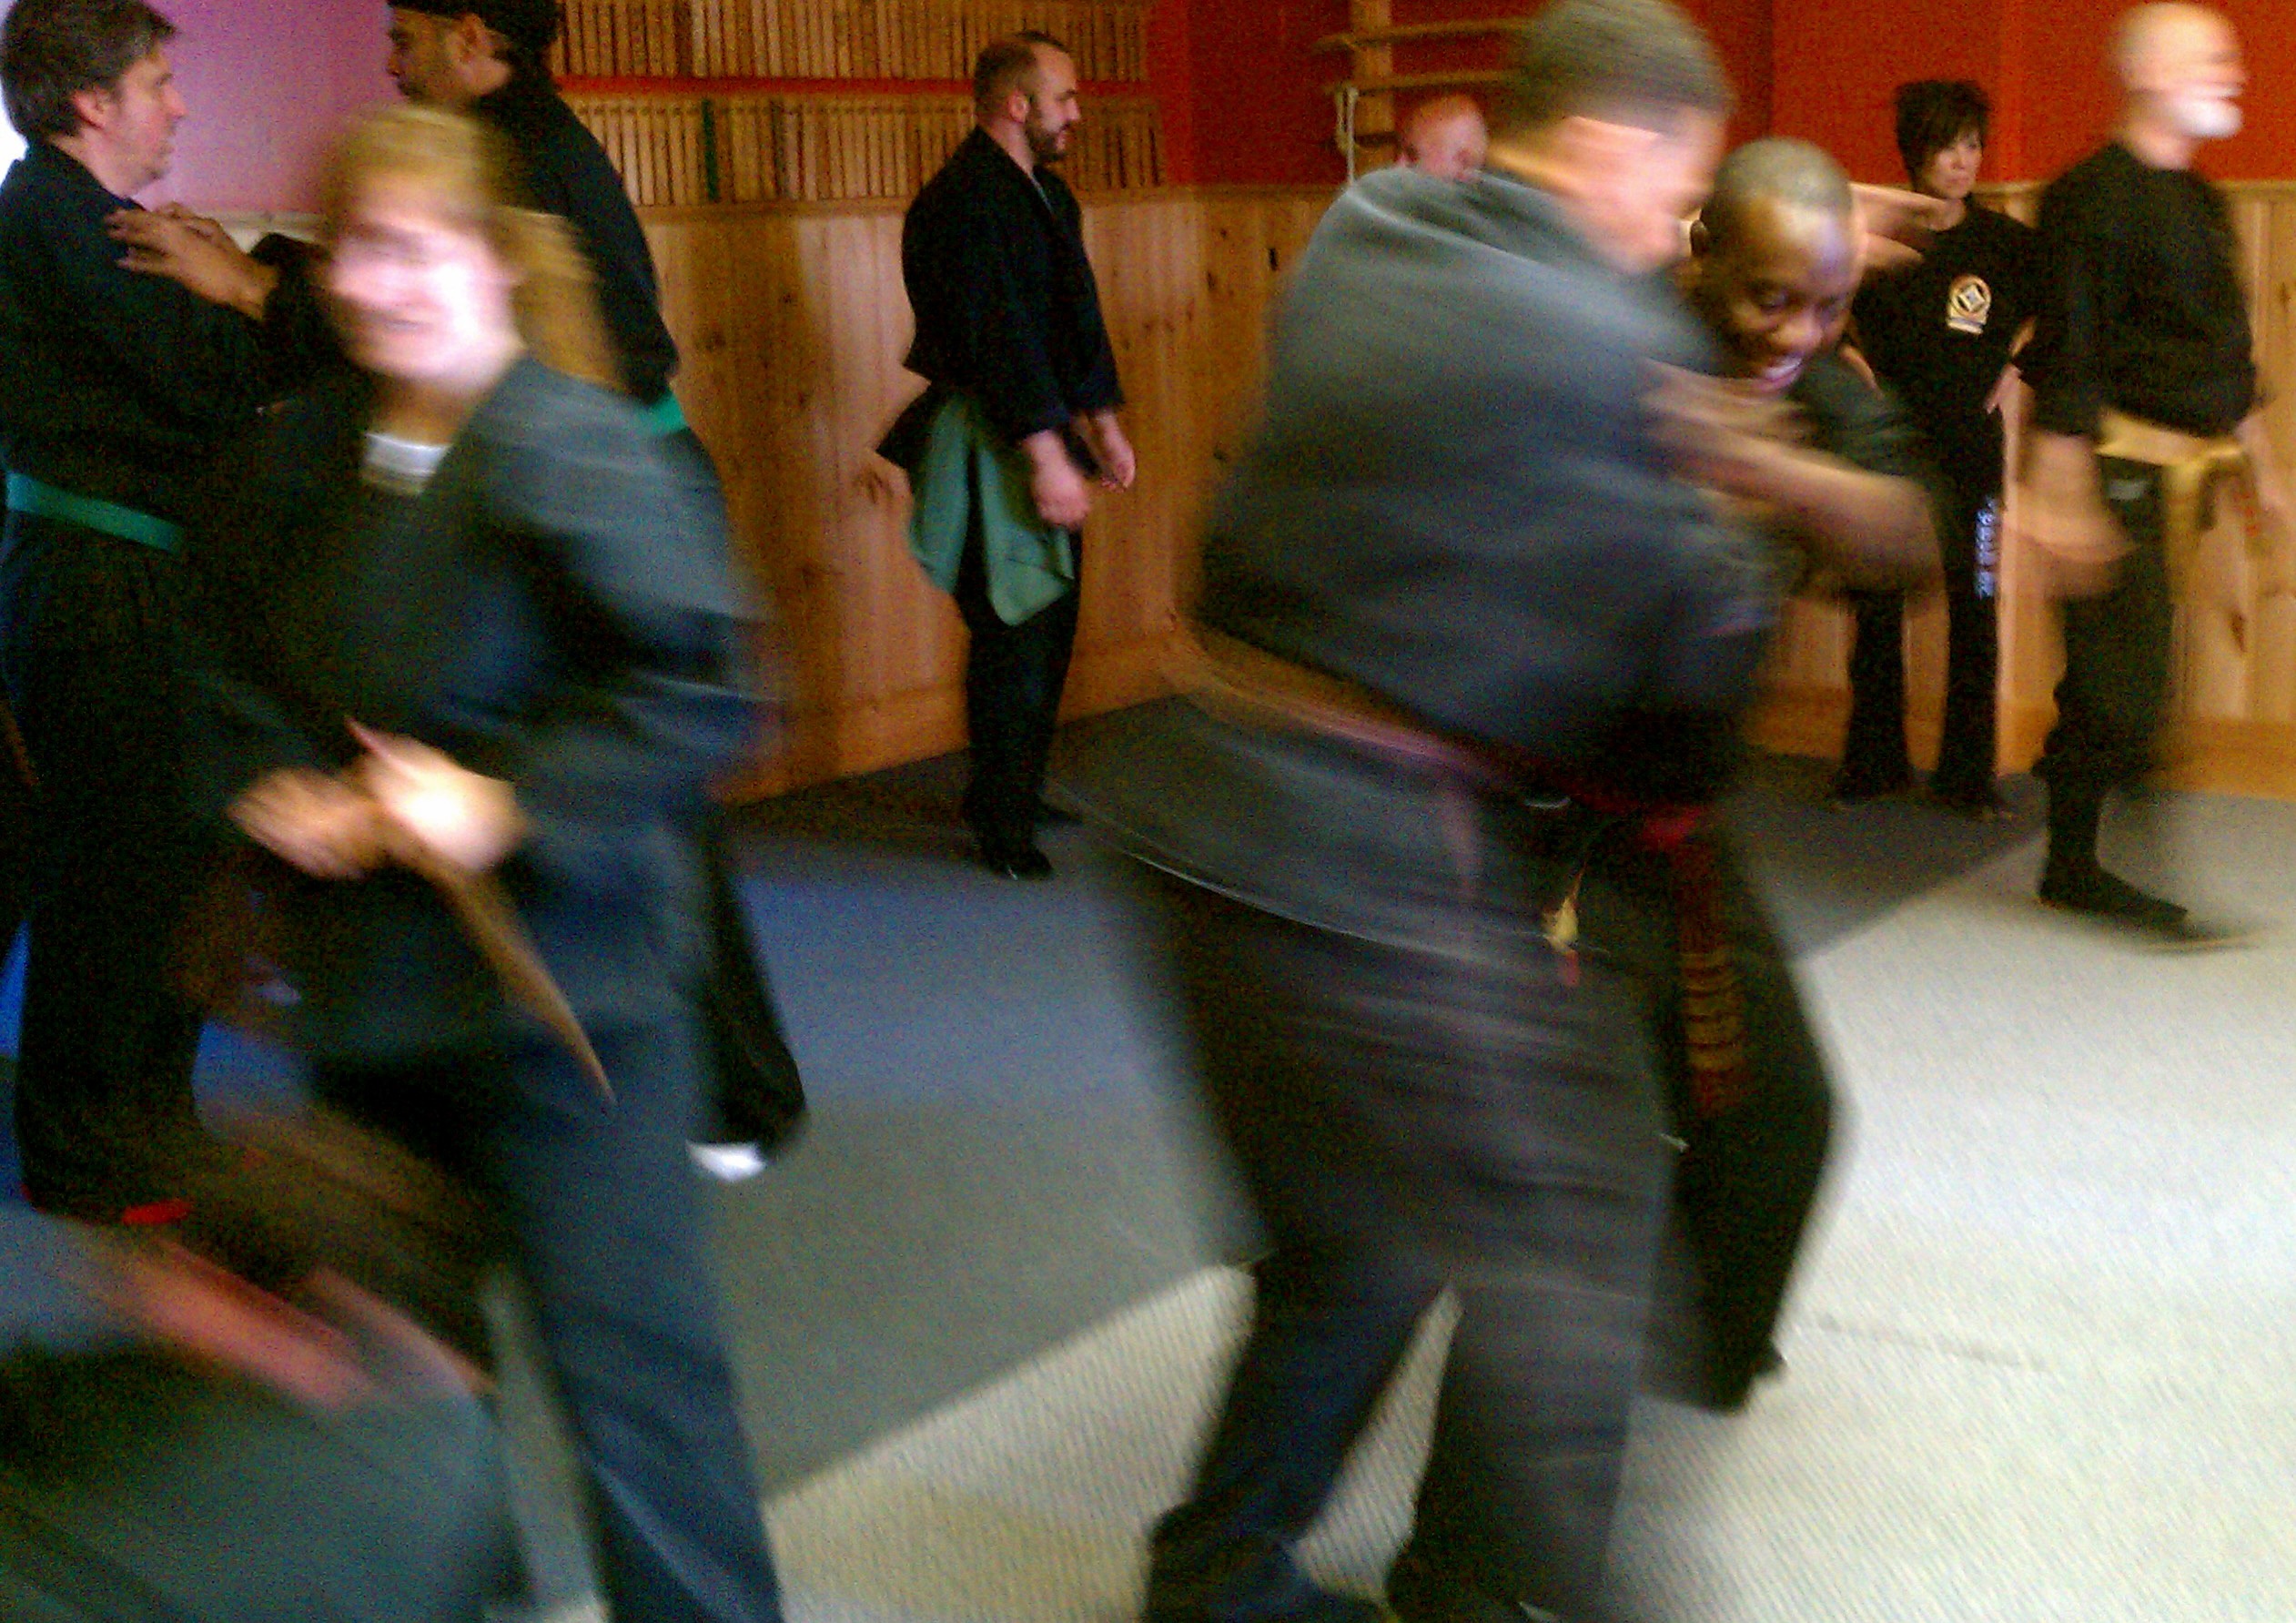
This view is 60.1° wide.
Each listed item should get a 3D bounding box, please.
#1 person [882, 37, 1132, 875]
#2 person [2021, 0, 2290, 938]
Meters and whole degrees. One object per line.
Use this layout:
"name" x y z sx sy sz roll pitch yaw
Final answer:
"person" -0.297 -0.783 4.515 0.525 1.776 0.597 -14 27 -32
"person" 1.980 -0.642 3.946 0.553 1.760 0.375 10 24 21
